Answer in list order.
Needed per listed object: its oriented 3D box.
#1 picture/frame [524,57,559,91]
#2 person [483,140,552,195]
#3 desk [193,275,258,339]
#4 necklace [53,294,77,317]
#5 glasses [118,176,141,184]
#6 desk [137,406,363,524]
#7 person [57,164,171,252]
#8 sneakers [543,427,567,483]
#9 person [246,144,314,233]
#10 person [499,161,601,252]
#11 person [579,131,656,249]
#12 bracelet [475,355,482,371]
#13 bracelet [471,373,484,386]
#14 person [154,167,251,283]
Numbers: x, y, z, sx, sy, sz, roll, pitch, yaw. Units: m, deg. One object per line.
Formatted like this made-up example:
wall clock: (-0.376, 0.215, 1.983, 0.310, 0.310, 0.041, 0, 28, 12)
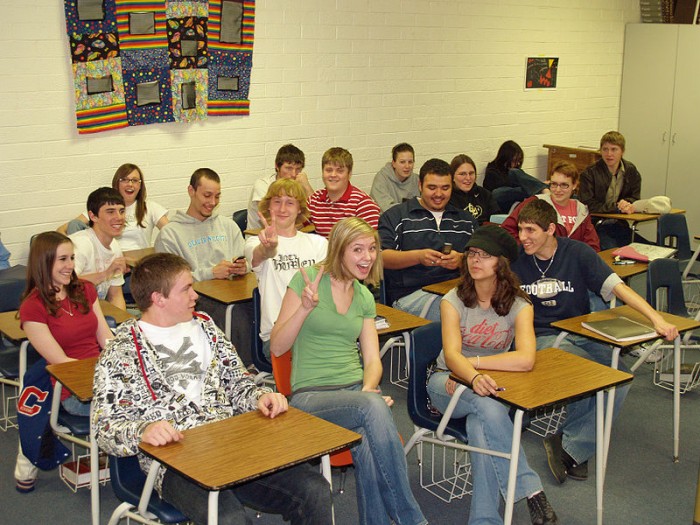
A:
picture/frame: (2.847, -2.791, 8.172, 0.723, 0.433, 0.117, -14, 20, -39)
person: (2.279, -1.205, 7.549, 0.609, 0.819, 0.888, -5, 7, -33)
desk: (-0.813, 0.239, 3.930, 0.430, 0.399, 0.438, 19, 27, 36)
necklace: (-1.625, 0.247, 3.152, 0.101, 0.094, 0.098, -3, 20, -39)
glasses: (-2.071, -0.768, 5.211, 0.208, 0.092, 0.064, -9, 17, -25)
desk: (-0.378, 0.555, 2.006, 0.568, 0.284, 0.407, -11, 19, -43)
person: (-2.160, -0.449, 5.315, 1.379, 0.905, 0.442, -4, 12, -37)
sneakers: (1.257, 1.176, 3.377, 0.127, 0.284, 0.106, -18, 0, 11)
person: (-0.741, -0.662, 5.785, 0.737, 1.042, 0.621, 13, 14, 36)
person: (2.134, -0.700, 5.847, 1.144, 0.815, 1.067, 7, 35, 34)
person: (3.192, -0.868, 6.562, 0.814, 1.227, 0.835, 3, 21, 30)
bracelet: (0.679, 0.530, 2.909, 0.040, 0.052, 0.019, 6, -7, -5)
bracelet: (0.626, 0.571, 2.706, 0.011, 0.046, 0.046, 40, -14, -8)
person: (-1.167, -0.264, 4.499, 0.710, 0.970, 0.830, 25, 27, 38)
